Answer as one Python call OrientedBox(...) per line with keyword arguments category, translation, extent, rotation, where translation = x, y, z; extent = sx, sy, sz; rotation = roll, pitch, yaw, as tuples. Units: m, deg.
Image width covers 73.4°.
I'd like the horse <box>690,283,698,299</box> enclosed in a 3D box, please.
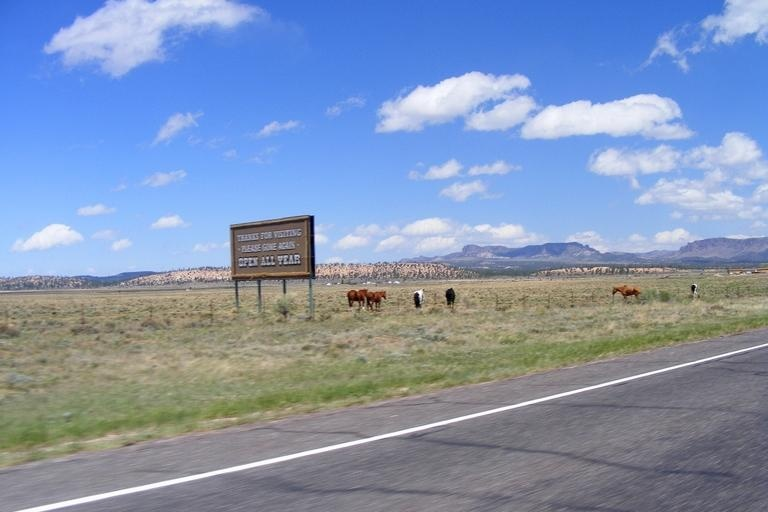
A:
OrientedBox(category="horse", translation=(32.997, 3.843, 54.949), extent=(1.092, 1.214, 0.556), rotation=(-1, -42, 28))
